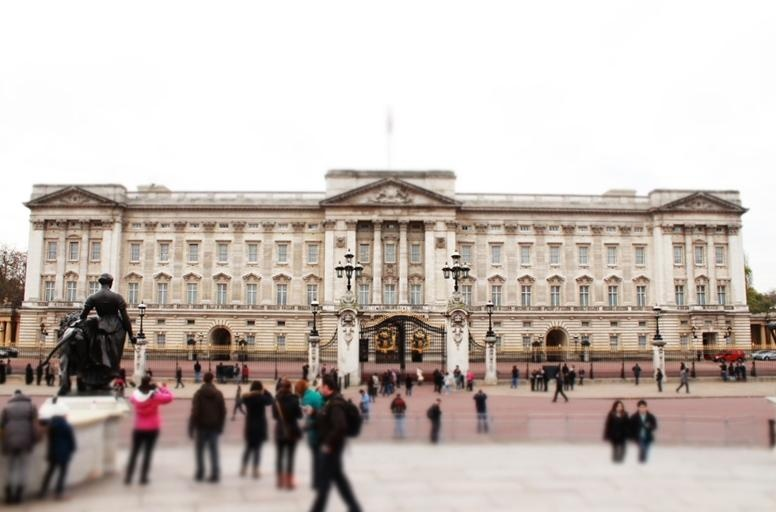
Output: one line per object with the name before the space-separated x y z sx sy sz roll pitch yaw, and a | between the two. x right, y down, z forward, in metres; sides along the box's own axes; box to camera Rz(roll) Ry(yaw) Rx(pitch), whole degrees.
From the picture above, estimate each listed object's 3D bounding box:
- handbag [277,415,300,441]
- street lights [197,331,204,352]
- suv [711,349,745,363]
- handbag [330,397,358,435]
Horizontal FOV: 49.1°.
handbag | -3.658 6.505 31.978 0.891 0.825 0.838 1 -8 17
street lights | -16.905 7.777 77.315 0.838 1.668 0.586 1 -9 -3
suv | 29.030 8.610 72.581 2.840 1.174 1.695 1 -5 5
handbag | -1.348 5.820 30.594 0.692 1.375 0.966 -4 -9 23
